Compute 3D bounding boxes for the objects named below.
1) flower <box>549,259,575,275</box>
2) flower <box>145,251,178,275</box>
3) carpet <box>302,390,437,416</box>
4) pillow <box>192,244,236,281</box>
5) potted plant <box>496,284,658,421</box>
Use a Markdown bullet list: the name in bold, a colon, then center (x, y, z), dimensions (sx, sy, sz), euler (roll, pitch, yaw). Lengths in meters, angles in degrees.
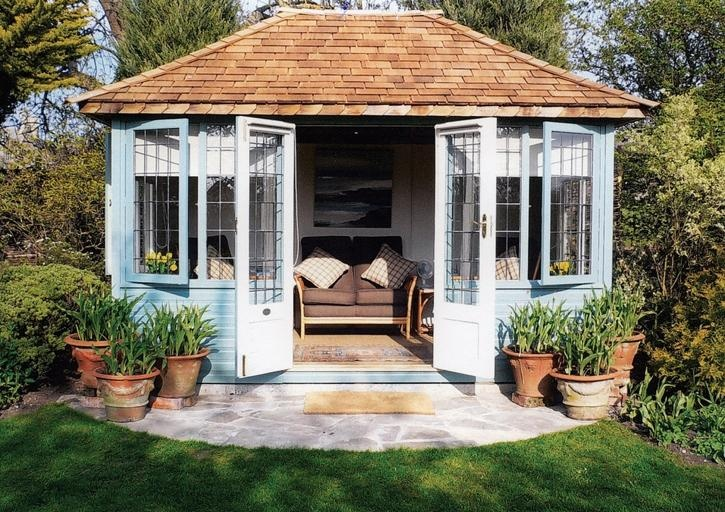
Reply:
- **flower**: center (2.652, 0.152, 7.985), dimensions (0.209, 0.136, 0.212), euler (-1, 1, 43)
- **flower**: center (-2.659, 0.158, 7.840), dimensions (0.297, 0.280, 0.372), euler (4, -6, -34)
- **carpet**: center (0.059, 1.825, 7.509), dimensions (1.599, 0.050, 0.619), euler (1, 13, 0)
- **pillow**: center (-1.976, 0.100, 7.944), dimensions (0.502, 0.411, 0.168), euler (36, -11, -22)
- **potted plant**: center (2.606, 1.165, 7.574), dimensions (1.681, 1.391, 1.222), euler (2, 12, 7)
